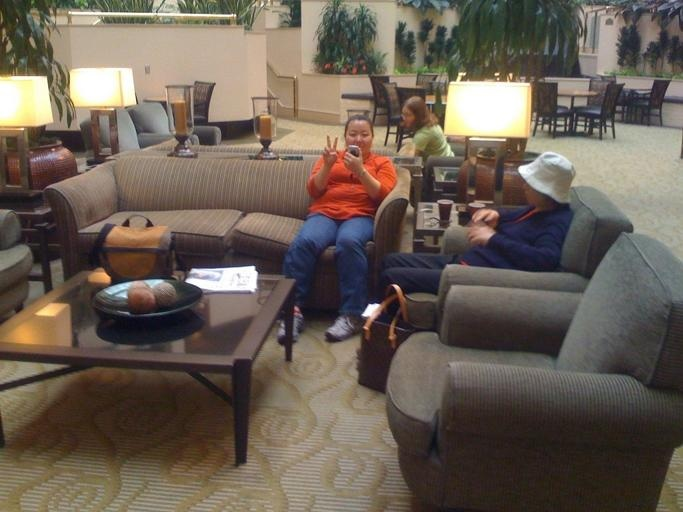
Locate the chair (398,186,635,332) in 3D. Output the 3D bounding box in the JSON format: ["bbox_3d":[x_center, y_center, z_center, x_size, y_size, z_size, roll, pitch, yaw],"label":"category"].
[{"bbox_3d":[0.856,-0.003,2.816,0.781,0.787,0.756,4,18,11],"label":"chair"}]

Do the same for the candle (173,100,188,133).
[{"bbox_3d":[-1.185,-1.029,4.248,0.108,0.235,0.178,-4,18,-16],"label":"candle"}]

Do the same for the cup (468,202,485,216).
[{"bbox_3d":[0.760,-0.284,3.272,0.092,0.072,0.091,0,16,0],"label":"cup"}]

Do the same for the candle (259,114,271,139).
[{"bbox_3d":[-0.536,-0.929,4.104,0.097,0.179,0.089,-2,18,-8],"label":"candle"}]

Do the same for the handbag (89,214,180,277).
[{"bbox_3d":[-1.053,-0.009,3.012,0.480,0.424,0.294,-1,-5,-7],"label":"handbag"}]

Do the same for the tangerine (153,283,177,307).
[{"bbox_3d":[-0.751,0.158,2.502,0.082,0.102,0.102,-1,55,8],"label":"tangerine"}]

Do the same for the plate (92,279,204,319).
[{"bbox_3d":[-0.855,0.199,2.533,0.257,0.053,0.252,-6,25,-31],"label":"plate"}]

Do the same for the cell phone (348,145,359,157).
[{"bbox_3d":[0.082,-0.643,3.504,0.072,0.080,0.136,3,7,5],"label":"cell phone"}]

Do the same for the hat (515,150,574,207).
[{"bbox_3d":[0.984,-0.377,2.779,0.247,0.139,0.236,36,20,21],"label":"hat"}]

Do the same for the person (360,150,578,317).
[{"bbox_3d":[0.714,-0.132,3.222,0.888,1.126,0.870,5,20,11],"label":"person"}]

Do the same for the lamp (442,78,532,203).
[{"bbox_3d":[0.864,-0.724,3.408,0.523,0.369,0.409,3,35,8],"label":"lamp"}]

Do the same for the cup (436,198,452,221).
[{"bbox_3d":[0.617,-0.276,3.419,0.106,0.121,0.113,-2,21,1],"label":"cup"}]

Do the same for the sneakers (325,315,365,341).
[{"bbox_3d":[0.016,0.411,3.292,0.091,0.120,0.264,6,7,38],"label":"sneakers"}]

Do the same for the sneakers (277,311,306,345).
[{"bbox_3d":[-0.284,0.402,3.205,0.080,0.104,0.238,0,-1,6],"label":"sneakers"}]
